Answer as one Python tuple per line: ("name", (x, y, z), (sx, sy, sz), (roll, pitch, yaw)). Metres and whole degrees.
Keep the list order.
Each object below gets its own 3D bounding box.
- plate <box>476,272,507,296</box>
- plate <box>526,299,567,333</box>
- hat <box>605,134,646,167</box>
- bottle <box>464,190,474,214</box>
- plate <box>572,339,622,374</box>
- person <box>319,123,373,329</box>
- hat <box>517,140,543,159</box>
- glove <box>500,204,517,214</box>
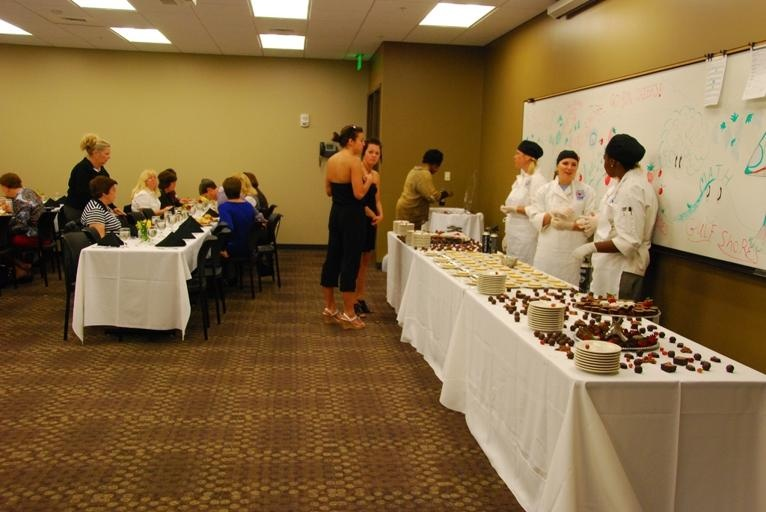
("plate", (0.731, 0.177, 3.414), (0.150, 0.106, 0.154), (-1, 6, -10))
("plate", (0.922, 0.333, 2.813), (0.168, 0.105, 0.170), (8, 10, 43))
("hat", (1.831, -0.811, 3.877), (0.210, 0.212, 0.279), (-11, 30, -3))
("bottle", (1.348, -0.860, 7.957), (0.172, 0.549, 0.179), (-5, 39, 4))
("plate", (1.010, 0.478, 2.382), (0.160, 0.075, 0.162), (1, 3, -24))
("person", (-0.397, -0.285, 5.350), (0.500, 2.114, 0.611), (0, 14, -5))
("hat", (1.593, -1.136, 5.460), (0.231, 0.142, 0.190), (8, 10, 0))
("glove", (1.329, -0.492, 5.407), (0.112, 0.066, 0.152), (1, 4, 2))
